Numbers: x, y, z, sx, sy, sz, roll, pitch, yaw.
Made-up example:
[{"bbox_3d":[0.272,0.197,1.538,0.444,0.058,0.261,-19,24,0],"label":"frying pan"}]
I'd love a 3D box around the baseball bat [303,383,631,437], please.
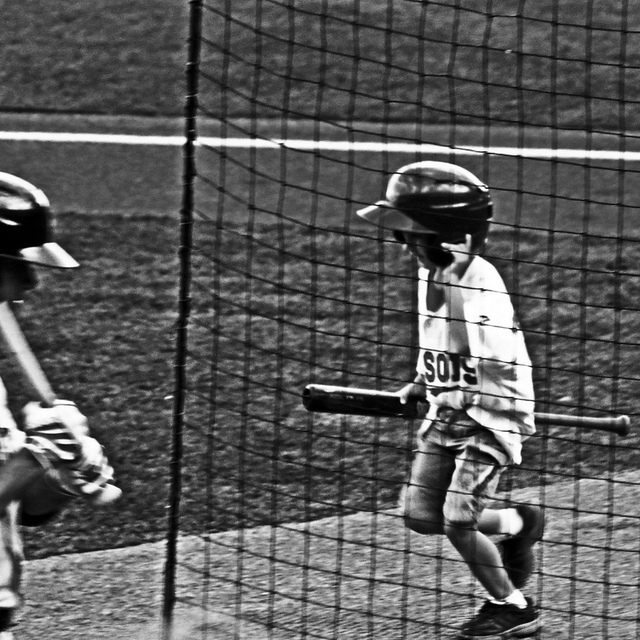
[{"bbox_3d":[0.687,0.455,14.247,1.651,0.137,0.162,6,-12,-9],"label":"baseball bat"}]
